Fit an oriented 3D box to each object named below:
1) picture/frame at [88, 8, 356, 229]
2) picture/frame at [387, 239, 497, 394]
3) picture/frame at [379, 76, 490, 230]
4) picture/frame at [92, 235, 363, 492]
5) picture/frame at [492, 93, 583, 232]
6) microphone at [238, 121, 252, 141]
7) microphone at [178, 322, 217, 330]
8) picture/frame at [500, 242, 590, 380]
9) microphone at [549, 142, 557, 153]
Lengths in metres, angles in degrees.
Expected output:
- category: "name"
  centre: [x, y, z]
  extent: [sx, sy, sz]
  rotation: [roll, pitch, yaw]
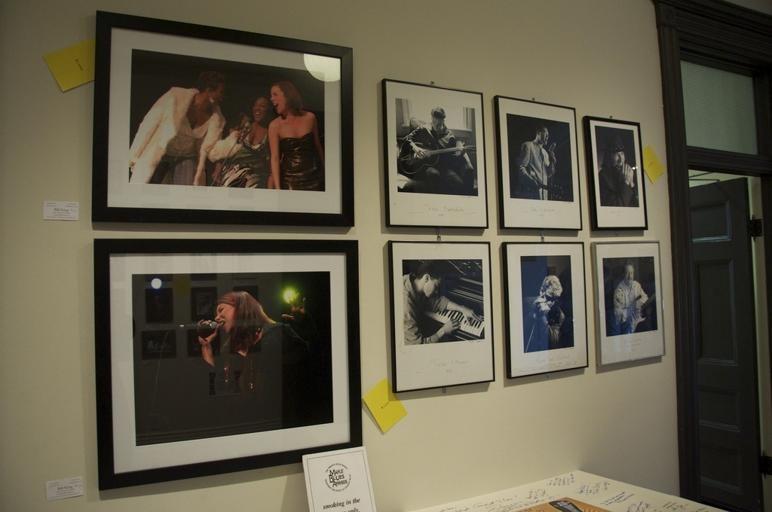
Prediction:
- category: "picture/frame"
  centre: [-0.802, -0.615, 2.706]
  extent: [0.913, 0.783, 0.052]
  rotation: [2, -5, -20]
- category: "picture/frame"
  centre: [0.258, 0.310, 2.936]
  extent: [0.667, 1.011, 0.087]
  rotation: [1, -5, -24]
- category: "picture/frame"
  centre: [0.224, -0.501, 2.962]
  extent: [0.667, 0.959, 0.060]
  rotation: [3, -10, -25]
- category: "picture/frame"
  centre: [-0.769, 0.502, 2.671]
  extent: [1.026, 1.034, 0.057]
  rotation: [0, -4, -23]
- category: "picture/frame"
  centre: [0.791, -0.486, 3.145]
  extent: [0.642, 0.895, 0.082]
  rotation: [2, -8, -26]
- category: "microphone"
  centre: [-0.644, -0.582, 2.732]
  extent: [0.046, 0.086, 0.018]
  rotation: [11, 1, -25]
- category: "microphone"
  centre: [-0.839, 0.312, 2.664]
  extent: [0.166, 0.043, 0.032]
  rotation: [-5, -2, -1]
- category: "picture/frame"
  centre: [0.823, 0.300, 3.124]
  extent: [0.619, 0.936, 0.067]
  rotation: [-2, -1, -25]
- category: "microphone"
  centre: [0.906, -0.588, 3.183]
  extent: [0.038, 0.044, 0.011]
  rotation: [0, -2, -18]
